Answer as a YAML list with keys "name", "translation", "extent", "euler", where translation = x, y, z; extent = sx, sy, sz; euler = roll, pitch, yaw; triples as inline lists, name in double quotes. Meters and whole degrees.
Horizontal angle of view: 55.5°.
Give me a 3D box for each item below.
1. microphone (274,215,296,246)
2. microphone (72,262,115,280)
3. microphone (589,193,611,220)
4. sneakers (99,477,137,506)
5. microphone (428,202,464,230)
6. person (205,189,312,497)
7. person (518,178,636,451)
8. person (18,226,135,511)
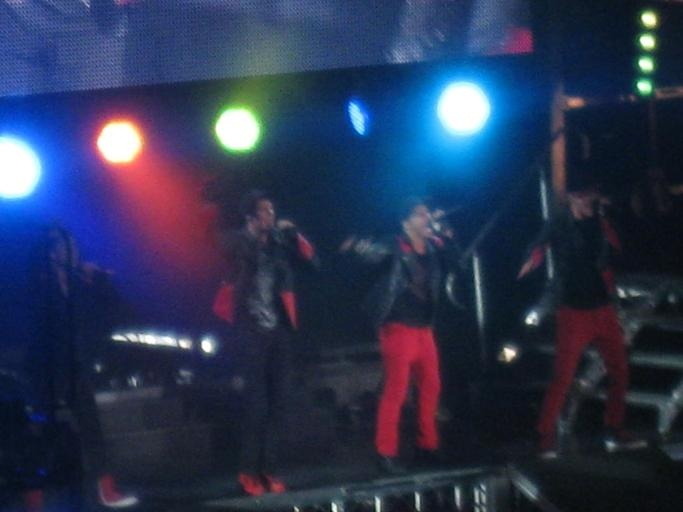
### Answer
- name: "microphone"
  translation: [-0.263, -0.136, 3.148]
  extent: [0.116, 0.114, 0.091]
  euler: [0, 0, 8]
- name: "microphone"
  translation: [-1.151, 0.071, 3.022]
  extent: [0.126, 0.090, 0.048]
  euler: [13, -8, -3]
- name: "microphone"
  translation: [1.294, -0.255, 3.197]
  extent: [0.088, 0.116, 0.115]
  euler: [2, -5, -33]
- name: "sneakers"
  translation: [-1.055, 1.120, 3.081]
  extent: [0.160, 0.079, 0.115]
  euler: [14, 6, 13]
- name: "microphone"
  translation: [0.482, -0.189, 3.085]
  extent: [0.167, 0.124, 0.091]
  euler: [-4, 10, -6]
- name: "person"
  translation: [-0.409, 0.414, 3.076]
  extent: [0.397, 1.394, 0.301]
  euler: [2, 12, 0]
- name: "person"
  translation: [1.245, 0.337, 3.248]
  extent: [0.503, 1.301, 0.289]
  euler: [1, 12, -6]
- name: "person"
  translation: [-1.213, 0.523, 3.044]
  extent: [0.515, 1.271, 0.199]
  euler: [6, 13, 15]
